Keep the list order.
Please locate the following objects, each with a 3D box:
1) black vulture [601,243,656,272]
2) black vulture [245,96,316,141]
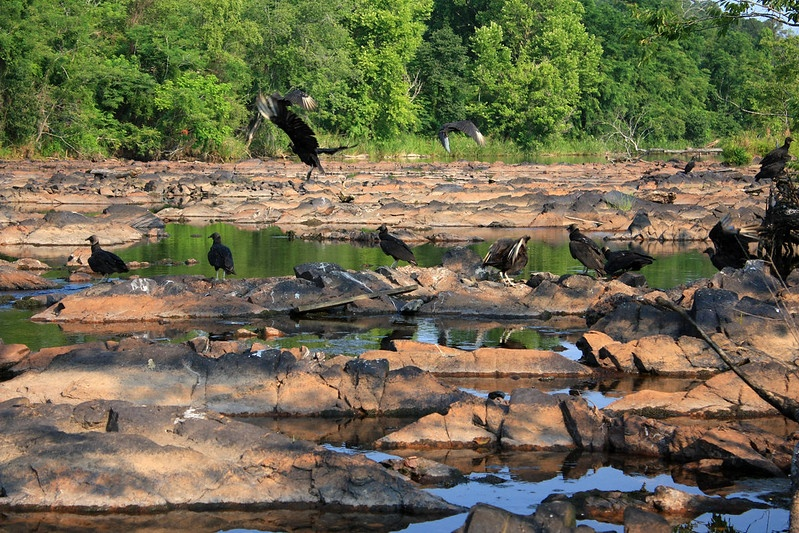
[{"bbox_3d":[6.773,-0.205,38.858,1.391,0.763,0.750,-6,5,34],"label":"black vulture"},{"bbox_3d":[-2.764,-3.789,32.247,0.668,1.112,1.722,22,2,-13],"label":"black vulture"}]
